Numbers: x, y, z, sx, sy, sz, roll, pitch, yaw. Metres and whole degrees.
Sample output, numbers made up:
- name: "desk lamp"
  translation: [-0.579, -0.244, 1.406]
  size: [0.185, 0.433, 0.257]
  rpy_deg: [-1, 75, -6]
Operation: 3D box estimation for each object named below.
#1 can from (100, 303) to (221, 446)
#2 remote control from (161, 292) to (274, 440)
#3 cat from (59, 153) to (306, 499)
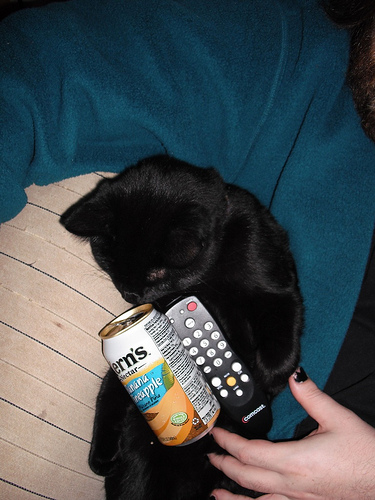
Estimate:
- name: "can"
  translation: [-0.056, 0.255, 0.967]
  size: [0.145, 0.250, 0.149]
  rpy_deg: [-27, 1, 1]
- name: "remote control"
  translation: [0.080, 0.251, 1.032]
  size: [0.113, 0.327, 0.049]
  rpy_deg: [-35, -4, 21]
- name: "cat"
  translation: [0.037, 0.216, 1.072]
  size: [0.493, 0.768, 0.309]
  rpy_deg: [-1, 26, 13]
